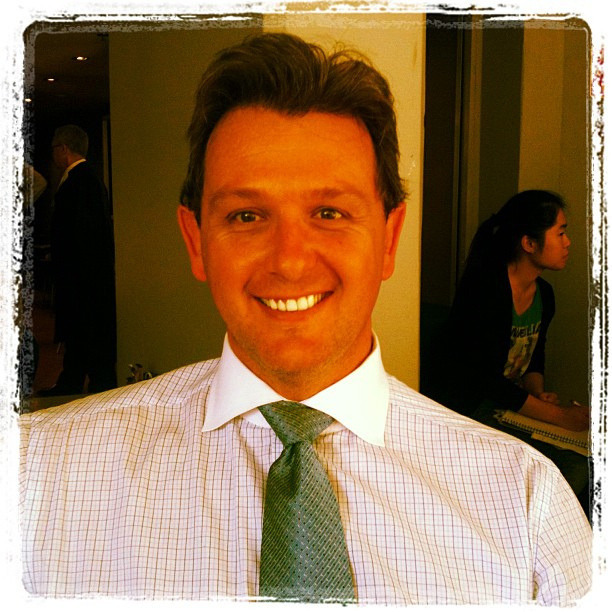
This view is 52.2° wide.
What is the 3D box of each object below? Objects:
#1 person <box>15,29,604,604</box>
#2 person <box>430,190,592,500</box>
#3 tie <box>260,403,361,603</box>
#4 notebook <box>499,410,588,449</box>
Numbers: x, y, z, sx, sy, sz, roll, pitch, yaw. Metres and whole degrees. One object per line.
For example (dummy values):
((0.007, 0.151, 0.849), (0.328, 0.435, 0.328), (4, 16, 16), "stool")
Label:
((0.015, -0.054, 1.527), (1.240, 1.262, 0.639), (1, -13, 2), "person")
((0.798, 0.169, 2.213), (0.412, 1.113, 0.596), (-6, 19, -32), "person")
((-0.005, 0.313, 0.998), (0.144, 0.258, 0.193), (-2, 11, -6), "tie")
((0.724, 0.376, 1.904), (0.253, 0.039, 0.170), (6, 14, 27), "notebook")
